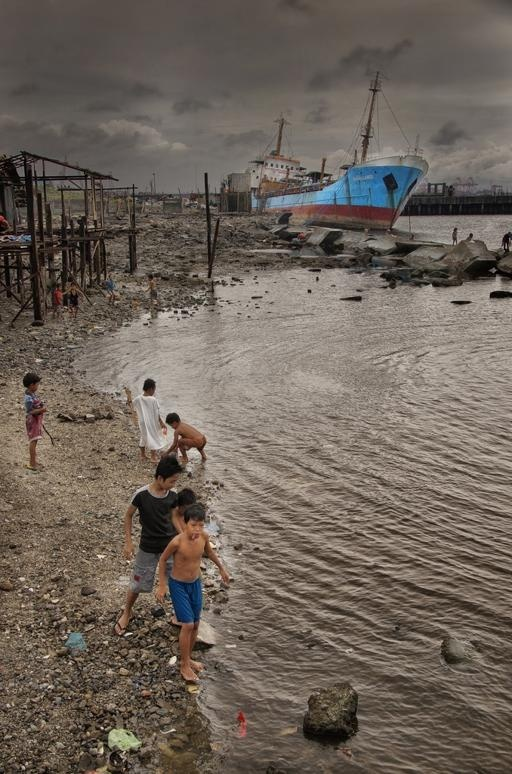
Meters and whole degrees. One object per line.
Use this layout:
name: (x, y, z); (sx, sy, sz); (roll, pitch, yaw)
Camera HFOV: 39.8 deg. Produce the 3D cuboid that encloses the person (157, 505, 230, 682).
person: (-0.540, 1.662, 5.757); (0.371, 1.520, 0.523); (8, 14, 21)
